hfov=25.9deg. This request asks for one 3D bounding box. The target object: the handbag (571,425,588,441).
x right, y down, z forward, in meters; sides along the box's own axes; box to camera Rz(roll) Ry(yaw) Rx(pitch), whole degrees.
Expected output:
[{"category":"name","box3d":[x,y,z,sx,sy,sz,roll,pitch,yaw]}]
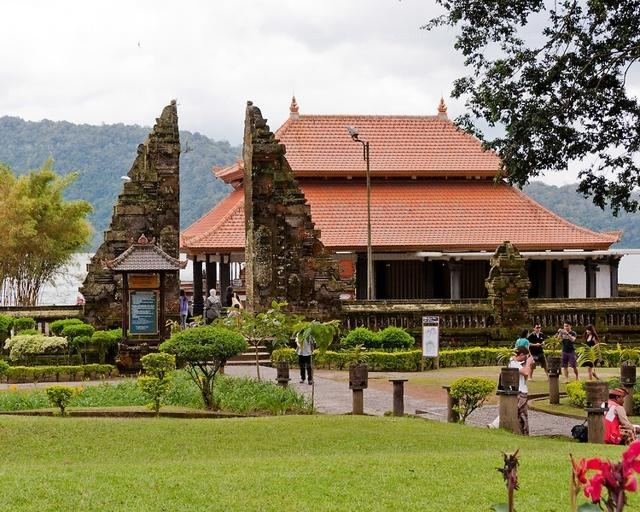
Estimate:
[{"category":"handbag","box3d":[5.589,3.723,29.810,0.297,0.305,0.759,-1,-7,1]}]

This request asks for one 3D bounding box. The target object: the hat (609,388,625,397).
[{"category":"hat","box3d":[6.063,2.712,28.282,0.305,0.143,0.321,-1,-7,13]}]

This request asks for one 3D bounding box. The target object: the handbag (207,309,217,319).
[{"category":"handbag","box3d":[-3.346,1.689,42.066,0.277,0.289,0.294,-2,1,0]}]

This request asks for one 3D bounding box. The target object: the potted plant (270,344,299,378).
[{"category":"potted plant","box3d":[-1.058,2.824,39.050,0.793,0.806,0.785,0,-5,-2]}]
